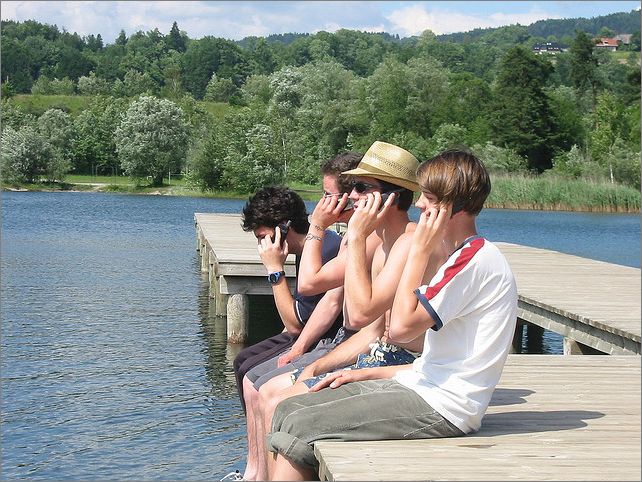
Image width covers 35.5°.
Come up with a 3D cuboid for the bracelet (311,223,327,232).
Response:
[{"bbox_3d":[-0.029,-0.123,9.010,0.089,0.020,0.082,21,-2,-14],"label":"bracelet"}]

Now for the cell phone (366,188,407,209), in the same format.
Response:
[{"bbox_3d":[0.586,-0.378,8.514,0.201,0.090,0.143,-33,9,-10],"label":"cell phone"}]

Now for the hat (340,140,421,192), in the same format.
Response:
[{"bbox_3d":[0.518,-0.619,8.583,0.557,0.178,0.428,14,2,-11],"label":"hat"}]

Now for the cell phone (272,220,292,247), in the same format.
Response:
[{"bbox_3d":[-0.354,-0.086,9.354,0.068,0.203,0.173,15,-2,-6],"label":"cell phone"}]

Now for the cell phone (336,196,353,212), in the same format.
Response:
[{"bbox_3d":[0.219,-0.331,9.017,0.103,0.098,0.122,-8,13,21],"label":"cell phone"}]
